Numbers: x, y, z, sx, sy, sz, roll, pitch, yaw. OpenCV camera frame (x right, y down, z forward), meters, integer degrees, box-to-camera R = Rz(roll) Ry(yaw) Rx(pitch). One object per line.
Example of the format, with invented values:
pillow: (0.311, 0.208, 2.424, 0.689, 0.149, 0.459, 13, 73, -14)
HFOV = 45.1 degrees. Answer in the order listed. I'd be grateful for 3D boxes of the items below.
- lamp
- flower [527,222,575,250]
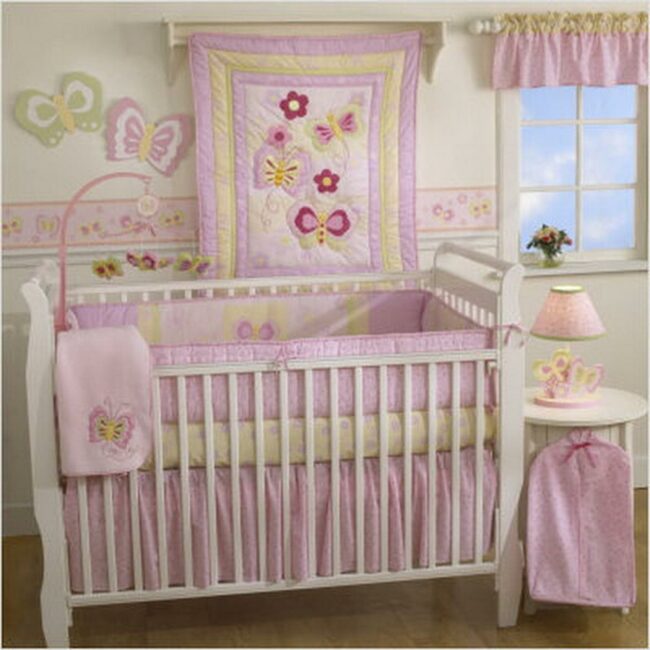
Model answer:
lamp: (0.758, 0.059, 2.439, 0.197, 0.403, 0.223, 8, 17, 36)
flower: (0.916, -0.349, 3.225, 0.120, 0.075, 0.129, 3, -5, -12)
